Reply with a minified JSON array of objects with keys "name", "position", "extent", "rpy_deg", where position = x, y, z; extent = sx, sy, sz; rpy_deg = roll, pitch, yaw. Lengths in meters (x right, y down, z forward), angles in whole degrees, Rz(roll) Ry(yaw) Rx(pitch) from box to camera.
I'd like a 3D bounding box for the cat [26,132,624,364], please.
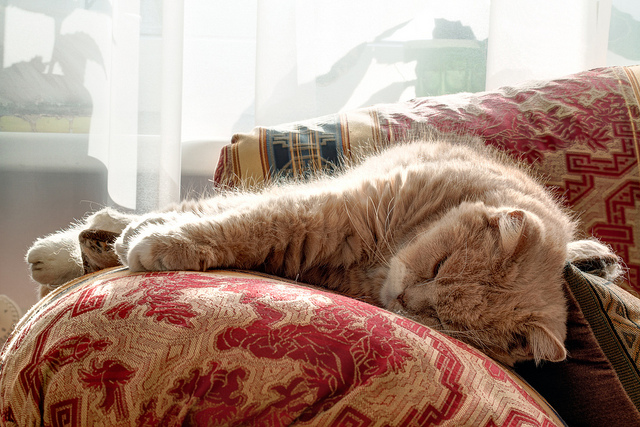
[{"name":"cat","position":[0.069,0.153,1.713],"extent":[1.446,0.574,0.905],"rpy_deg":[20,6,5]}]
